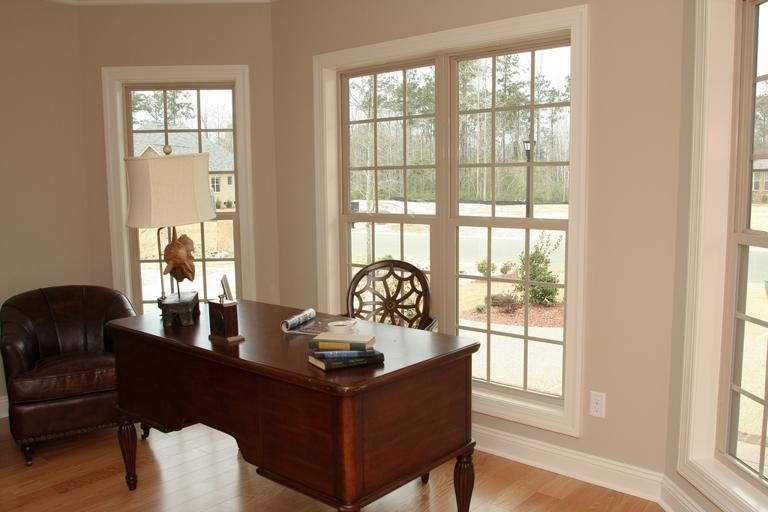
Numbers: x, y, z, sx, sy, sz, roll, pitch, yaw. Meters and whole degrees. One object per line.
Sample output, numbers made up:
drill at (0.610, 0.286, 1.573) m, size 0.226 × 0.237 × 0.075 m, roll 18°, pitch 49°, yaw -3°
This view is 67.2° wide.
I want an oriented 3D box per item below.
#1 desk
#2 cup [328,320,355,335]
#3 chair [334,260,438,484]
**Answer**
desk at (-0.551, 0.894, 3.334) m, size 1.395 × 0.632 × 0.695 m, roll 4°, pitch 10°, yaw 35°
cup at (-0.237, 0.399, 3.227) m, size 0.095 × 0.035 × 0.071 m, roll 1°, pitch 5°, yaw 25°
chair at (0.066, 0.669, 4.760) m, size 0.841 × 1.190 × 0.847 m, roll 3°, pitch 4°, yaw -3°
